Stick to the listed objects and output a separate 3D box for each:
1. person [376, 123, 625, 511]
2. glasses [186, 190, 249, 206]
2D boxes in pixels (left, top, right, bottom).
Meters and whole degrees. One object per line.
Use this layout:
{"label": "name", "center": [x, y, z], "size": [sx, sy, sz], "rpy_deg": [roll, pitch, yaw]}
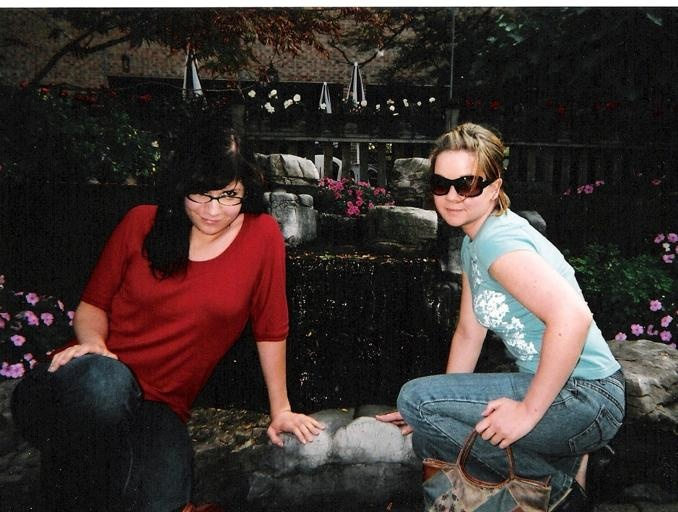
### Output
{"label": "person", "center": [0.627, 0.248, 2.338], "size": [0.821, 1.472, 0.461], "rpy_deg": [3, 9, 25]}
{"label": "glasses", "center": [-0.503, -0.229, 2.498], "size": [0.208, 0.064, 0.057], "rpy_deg": [-3, 8, -15]}
